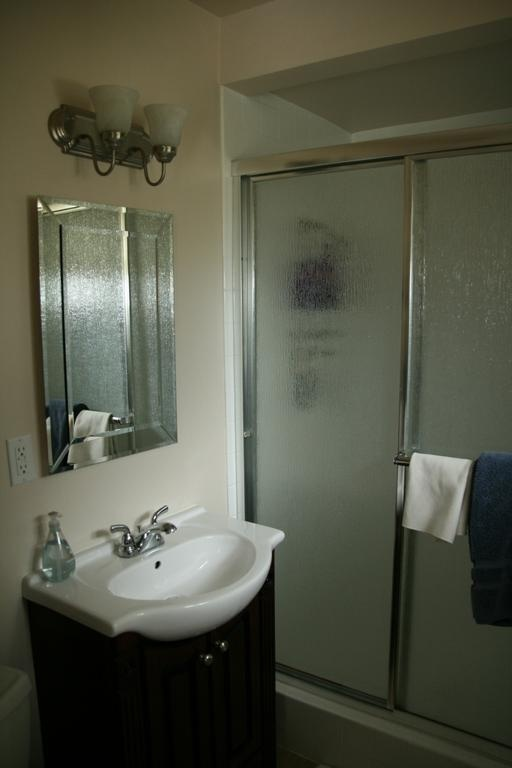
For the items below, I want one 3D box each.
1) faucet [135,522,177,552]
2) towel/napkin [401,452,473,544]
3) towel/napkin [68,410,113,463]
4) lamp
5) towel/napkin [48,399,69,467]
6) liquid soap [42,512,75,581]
[{"bbox_3d":[-0.259,0.387,1.576,0.038,0.063,0.136,5,9,26],"label":"faucet"},{"bbox_3d":[0.472,0.260,1.592,0.149,0.234,0.129,-1,41,5],"label":"towel/napkin"},{"bbox_3d":[-0.415,0.127,1.474,0.096,0.182,0.063,0,12,-40],"label":"towel/napkin"},{"bbox_3d":[-0.295,-0.596,1.442,0.191,0.213,0.397,6,8,24],"label":"lamp"},{"bbox_3d":[-0.444,0.122,1.381,0.027,0.121,0.080,-4,4,-4],"label":"towel/napkin"},{"bbox_3d":[-0.446,0.359,1.342,0.073,0.158,0.041,0,7,-23],"label":"liquid soap"}]
